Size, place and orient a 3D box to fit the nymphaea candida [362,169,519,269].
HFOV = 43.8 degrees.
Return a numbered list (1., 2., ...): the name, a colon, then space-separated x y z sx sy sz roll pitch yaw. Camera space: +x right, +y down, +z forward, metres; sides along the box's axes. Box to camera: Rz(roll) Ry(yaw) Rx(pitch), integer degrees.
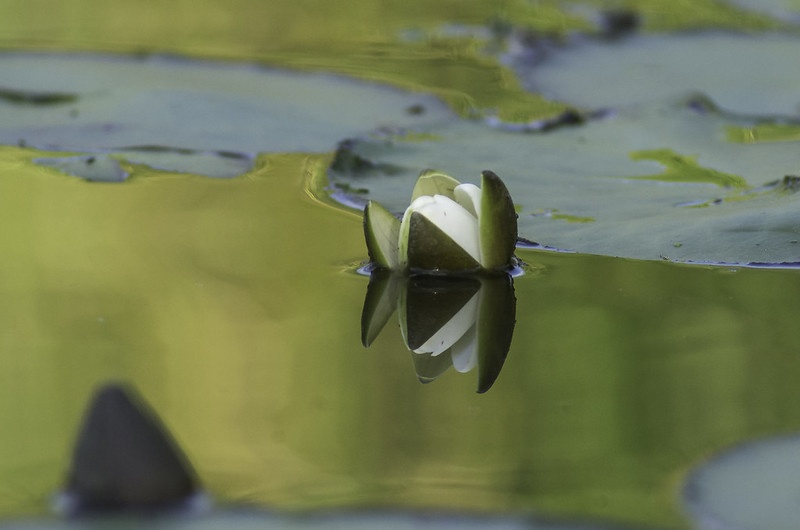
1. nymphaea candida: 0.173 -0.189 4.281 0.656 0.369 0.413 5 77 1
